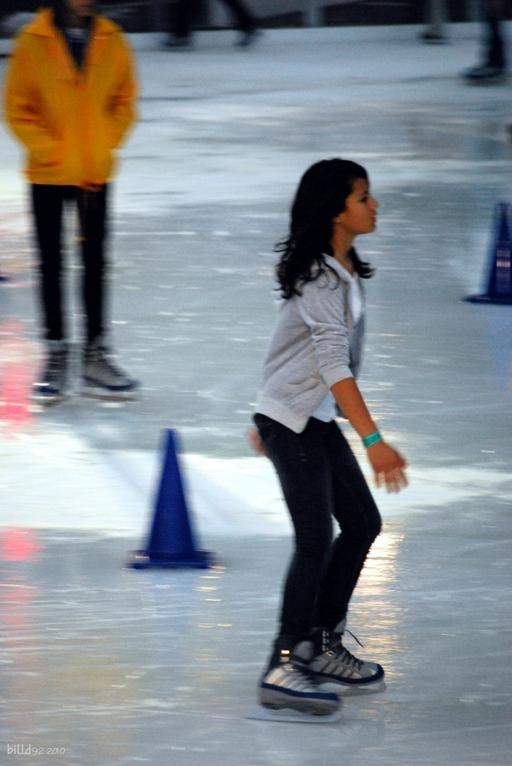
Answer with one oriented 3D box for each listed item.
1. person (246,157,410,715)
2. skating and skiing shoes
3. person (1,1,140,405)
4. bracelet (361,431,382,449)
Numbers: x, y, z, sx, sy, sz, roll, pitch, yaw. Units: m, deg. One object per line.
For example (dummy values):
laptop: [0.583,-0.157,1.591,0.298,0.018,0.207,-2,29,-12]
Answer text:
person: [0.180,0.128,3.165,0.375,1.272,0.635,5,17,-4]
skating and skiing shoes: [0.209,0.679,3.282,0.241,0.157,0.080,13,-16,-14]
person: [-0.879,-0.877,6.423,0.738,1.895,0.607,4,18,-5]
bracelet: [0.261,0.133,2.991,0.041,0.024,0.039,-26,6,-13]
